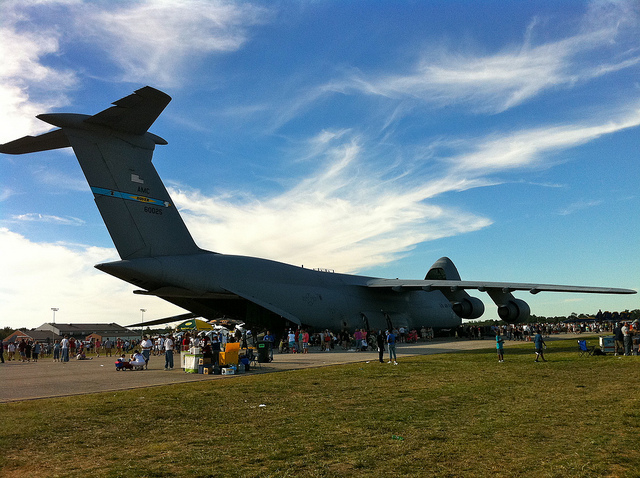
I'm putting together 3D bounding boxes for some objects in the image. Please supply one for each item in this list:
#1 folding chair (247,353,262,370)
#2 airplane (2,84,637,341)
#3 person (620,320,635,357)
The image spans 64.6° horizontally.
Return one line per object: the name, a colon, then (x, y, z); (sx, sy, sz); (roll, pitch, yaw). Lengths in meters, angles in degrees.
folding chair: (-2.264, 4.137, 17.489); (0.410, 0.424, 0.339); (8, -16, -30)
airplane: (-2.142, 0.810, 23.048); (8.818, 7.585, 22.416); (-14, -17, 38)
person: (11.547, 3.736, 18.900); (0.461, 1.212, 1.625); (-12, -17, 28)
